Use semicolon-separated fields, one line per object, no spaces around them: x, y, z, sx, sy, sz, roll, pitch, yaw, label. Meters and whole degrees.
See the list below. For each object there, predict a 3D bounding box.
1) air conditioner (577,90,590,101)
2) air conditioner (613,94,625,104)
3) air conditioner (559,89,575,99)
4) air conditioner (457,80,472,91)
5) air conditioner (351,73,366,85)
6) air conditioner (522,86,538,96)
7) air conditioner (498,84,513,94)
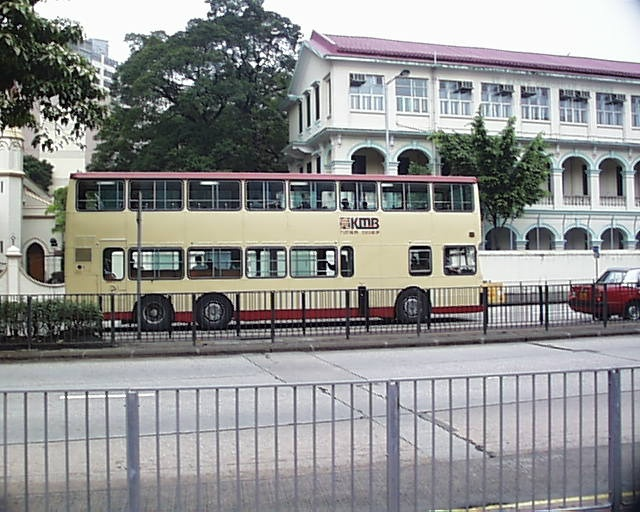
13.646;-8.280;48.669;0.515;0.530;0.354;0;0;-26;air conditioner
15.760;-8.299;49.668;0.780;0.426;0.499;3;-17;-5;air conditioner
12.644;-8.285;48.316;0.792;0.482;0.497;0;-4;-1;air conditioner
7.083;-8.202;45.751;0.777;0.529;0.425;0;15;-3;air conditioner
1.784;-8.199;43.908;0.552;0.338;0.553;0;-3;-14;air conditioner
10.484;-8.224;47.068;0.742;0.511;0.360;-4;4;-26;air conditioner
9.279;-8.256;46.675;0.832;0.436;0.494;3;-5;-42;air conditioner
